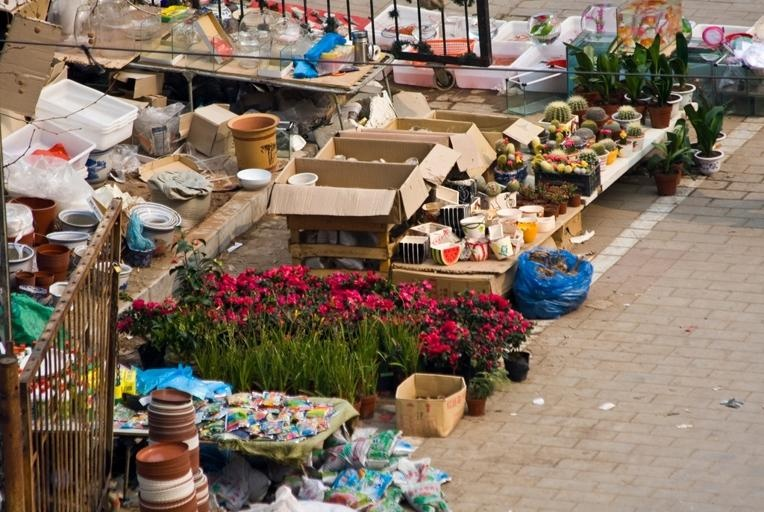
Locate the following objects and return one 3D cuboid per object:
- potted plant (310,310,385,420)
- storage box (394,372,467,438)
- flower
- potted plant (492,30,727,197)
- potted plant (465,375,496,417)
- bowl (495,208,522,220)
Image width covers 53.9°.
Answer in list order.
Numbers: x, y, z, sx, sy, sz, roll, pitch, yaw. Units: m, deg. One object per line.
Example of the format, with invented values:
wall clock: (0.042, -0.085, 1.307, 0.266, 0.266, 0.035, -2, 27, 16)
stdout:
potted plant: (-0.247, 1.058, 7.259, 0.923, 0.966, 0.790, 0, 6, 1)
storage box: (0.419, 1.367, 6.813, 0.610, 0.343, 0.585, 2, 11, 14)
flower: (-0.455, 0.515, 7.526, 2.756, 0.494, 1.594, 5, 7, 8)
potted plant: (3.495, -2.456, 11.629, 3.017, 1.964, 2.792, -3, 12, -3)
potted plant: (0.910, 1.276, 7.054, 0.259, 0.395, 0.224, 0, 21, -3)
bowl: (1.492, -0.494, 8.866, 0.287, 0.073, 0.501, 3, 19, 5)
